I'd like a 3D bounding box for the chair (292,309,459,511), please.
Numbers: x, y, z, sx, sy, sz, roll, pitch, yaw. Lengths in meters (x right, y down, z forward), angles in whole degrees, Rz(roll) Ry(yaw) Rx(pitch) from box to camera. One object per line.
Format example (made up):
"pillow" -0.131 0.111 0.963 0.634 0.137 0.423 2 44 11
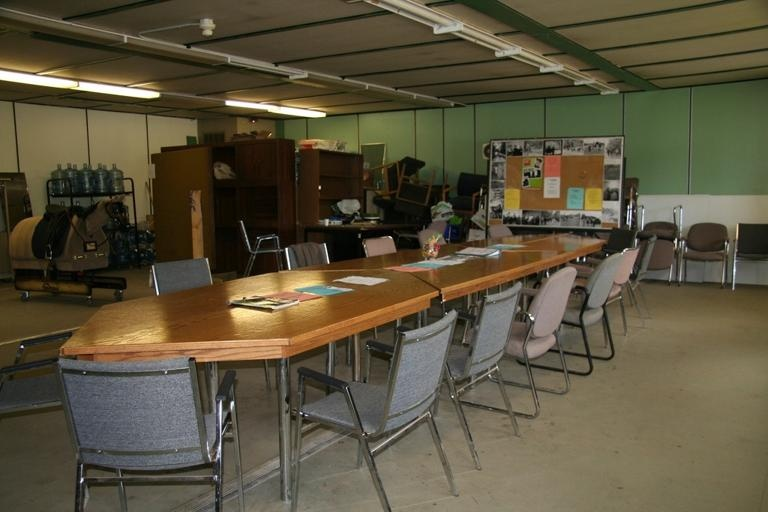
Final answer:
"chair" -0.084 1.021 3.704 0.901 1.296 0.673 4 13 23

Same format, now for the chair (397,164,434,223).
"chair" 0.543 -1.314 11.228 0.783 1.309 0.952 -1 11 4

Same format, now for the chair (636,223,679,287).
"chair" 4.829 -0.033 9.920 0.636 1.076 1.297 4 12 26

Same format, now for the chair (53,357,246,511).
"chair" -1.356 1.103 3.383 0.865 1.163 0.512 -1 12 0

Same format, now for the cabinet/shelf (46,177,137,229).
"cabinet/shelf" -5.387 -0.967 10.193 1.031 1.157 1.416 7 9 43

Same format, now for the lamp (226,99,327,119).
"lamp" -2.361 -3.140 11.964 0.714 0.160 2.430 6 11 40

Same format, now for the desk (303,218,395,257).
"desk" -0.695 -0.316 9.820 1.249 0.484 0.856 2 4 33
